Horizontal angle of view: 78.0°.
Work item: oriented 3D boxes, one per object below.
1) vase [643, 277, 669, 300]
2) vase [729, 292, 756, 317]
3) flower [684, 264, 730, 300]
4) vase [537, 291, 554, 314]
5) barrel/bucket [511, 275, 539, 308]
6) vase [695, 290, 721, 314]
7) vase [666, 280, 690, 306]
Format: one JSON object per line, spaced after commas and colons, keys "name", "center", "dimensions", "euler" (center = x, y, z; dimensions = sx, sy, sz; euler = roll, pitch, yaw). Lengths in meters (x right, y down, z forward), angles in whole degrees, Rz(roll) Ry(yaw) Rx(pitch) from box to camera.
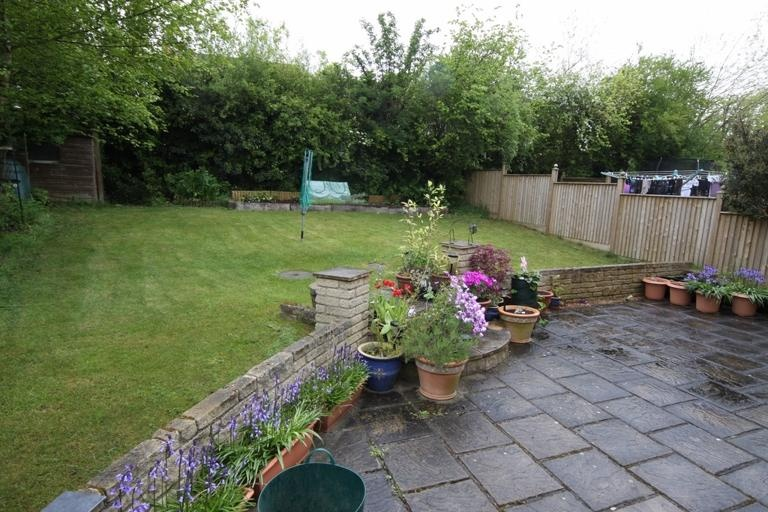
{"name": "vase", "center": [6.427, 0.768, 11.257], "dimensions": [0.525, 0.460, 0.521], "euler": [4, -3, 10]}
{"name": "vase", "center": [7.801, 1.024, 10.211], "dimensions": [0.512, 0.368, 0.507], "euler": [2, 0, 7]}
{"name": "flower", "center": [7.321, 0.573, 10.729], "dimensions": [0.838, 0.579, 0.828], "euler": [-2, -3, 5]}
{"name": "vase", "center": [3.358, 0.956, 9.815], "dimensions": [0.457, 0.349, 0.437], "euler": [-1, 3, -2]}
{"name": "barrel/bucket", "center": [2.761, 0.714, 9.359], "dimensions": [0.596, 0.633, 0.585], "euler": [0, -2, 0]}
{"name": "vase", "center": [7.154, 0.988, 10.405], "dimensions": [0.482, 0.344, 0.473], "euler": [4, -1, -3]}
{"name": "vase", "center": [6.769, 0.851, 10.808], "dimensions": [0.503, 0.385, 0.496], "euler": [0, 1, 3]}
